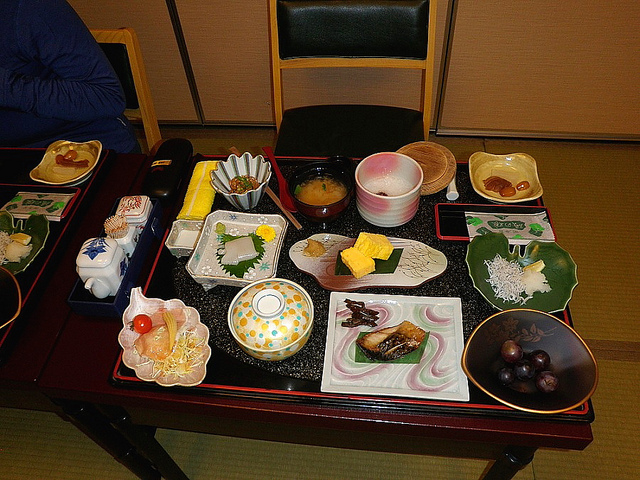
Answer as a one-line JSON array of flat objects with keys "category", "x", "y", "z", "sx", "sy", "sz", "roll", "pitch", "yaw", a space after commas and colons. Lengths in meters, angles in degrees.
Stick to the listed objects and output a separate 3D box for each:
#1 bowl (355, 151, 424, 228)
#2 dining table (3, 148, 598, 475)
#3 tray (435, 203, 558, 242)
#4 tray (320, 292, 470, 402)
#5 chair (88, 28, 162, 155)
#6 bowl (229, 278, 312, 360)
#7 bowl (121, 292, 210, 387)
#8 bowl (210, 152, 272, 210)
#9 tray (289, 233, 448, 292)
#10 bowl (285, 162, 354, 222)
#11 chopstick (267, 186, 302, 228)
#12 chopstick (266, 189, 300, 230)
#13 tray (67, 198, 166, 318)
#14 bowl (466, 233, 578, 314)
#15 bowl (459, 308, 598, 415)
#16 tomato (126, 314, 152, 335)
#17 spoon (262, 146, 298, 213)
[{"category": "bowl", "x": 0.231, "y": -0.172, "z": 1.487, "sx": 0.234, "sy": 0.140, "sz": 0.233, "roll": -1, "pitch": 51, "yaw": 1}, {"category": "dining table", "x": -0.003, "y": 0.363, "z": 2.317, "sx": 2.229, "sy": 1.406, "sz": 1.114, "roll": 2, "pitch": 72, "yaw": 4}, {"category": "tray", "x": 0.600, "y": -0.051, "z": 1.515, "sx": 0.370, "sy": 0.047, "sz": 0.163, "roll": 3, "pitch": 57, "yaw": 3}, {"category": "tray", "x": 0.215, "y": 0.298, "z": 1.256, "sx": 0.398, "sy": 0.069, "sz": 0.293, "roll": 2, "pitch": 47, "yaw": 4}, {"category": "chair", "x": -0.990, "y": -0.776, "z": 2.261, "sx": 0.228, "sy": 0.570, "sz": 0.258, "roll": -1, "pitch": 48, "yaw": 3}, {"category": "bowl", "x": -0.144, "y": 0.264, "z": 1.331, "sx": 0.217, "sy": 0.143, "sz": 0.213, "roll": 0, "pitch": 59, "yaw": -1}, {"category": "bowl", "x": -0.444, "y": 0.279, "z": 1.240, "sx": 0.280, "sy": 0.090, "sz": 0.231, "roll": 5, "pitch": 48, "yaw": 8}, {"category": "bowl", "x": -0.277, "y": -0.193, "z": 1.578, "sx": 0.218, "sy": 0.141, "sz": 0.205, "roll": -1, "pitch": 60, "yaw": 3}, {"category": "tray", "x": 0.154, "y": 0.066, "z": 1.373, "sx": 0.426, "sy": 0.053, "sz": 0.204, "roll": 1, "pitch": 52, "yaw": 3}, {"category": "bowl", "x": 0.005, "y": -0.176, "z": 1.502, "sx": 0.222, "sy": 0.125, "sz": 0.218, "roll": -1, "pitch": 55, "yaw": 2}, {"category": "chopstick", "x": -0.118, "y": -0.107, "z": 1.505, "sx": 0.192, "sy": 0.014, "sz": 0.010, "roll": 49, "pitch": 43, "yaw": 13}, {"category": "chopstick", "x": -0.123, "y": -0.100, "z": 1.504, "sx": 0.012, "sy": 0.013, "sz": 0.189, "roll": -47, "pitch": 65, "yaw": 19}, {"category": "tray", "x": -0.653, "y": 0.050, "z": 1.436, "sx": 0.200, "sy": 0.105, "sz": 0.402, "roll": 5, "pitch": 57, "yaw": 0}, {"category": "bowl", "x": 0.617, "y": 0.107, "z": 1.346, "sx": 0.325, "sy": 0.076, "sz": 0.268, "roll": 9, "pitch": 48, "yaw": 11}, {"category": "bowl", "x": 0.569, "y": 0.326, "z": 1.183, "sx": 0.320, "sy": 0.098, "sz": 0.286, "roll": 23, "pitch": 52, "yaw": 22}, {"category": "tomato", "x": -0.508, "y": 0.246, "z": 1.238, "sx": 0.059, "sy": 0.030, "sz": 0.046, "roll": -4, "pitch": 92, "yaw": -2}, {"category": "spoon", "x": -0.160, "y": -0.263, "z": 1.603, "sx": 0.073, "sy": 0.043, "sz": 0.361, "roll": -24, "pitch": 59, "yaw": 9}]
